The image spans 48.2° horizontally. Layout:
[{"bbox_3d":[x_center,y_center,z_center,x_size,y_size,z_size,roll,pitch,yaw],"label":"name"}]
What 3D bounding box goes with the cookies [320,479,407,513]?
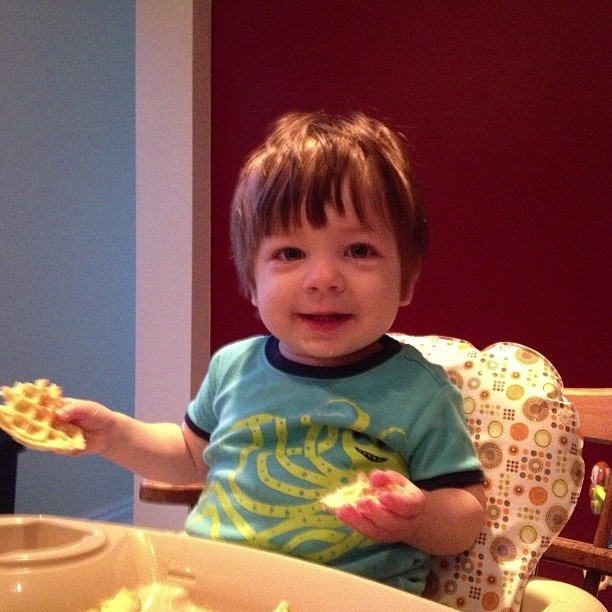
[{"bbox_3d":[0.063,0.230,0.852,0.088,0.021,0.051,-14,20,-31],"label":"cookies"}]
